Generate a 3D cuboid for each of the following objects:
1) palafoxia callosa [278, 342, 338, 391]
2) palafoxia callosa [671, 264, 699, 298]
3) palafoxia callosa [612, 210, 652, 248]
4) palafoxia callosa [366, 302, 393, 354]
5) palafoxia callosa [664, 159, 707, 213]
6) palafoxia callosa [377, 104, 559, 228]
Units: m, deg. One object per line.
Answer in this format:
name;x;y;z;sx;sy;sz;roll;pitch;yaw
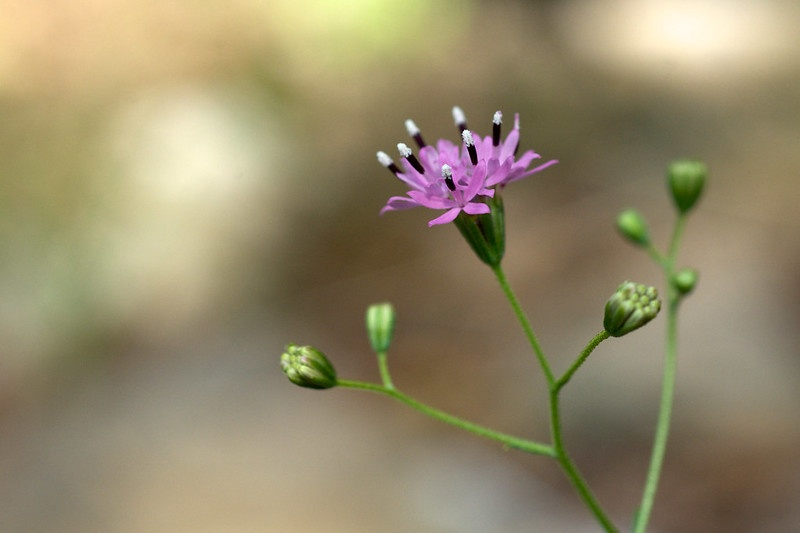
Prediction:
palafoxia callosa;-0.670;0.731;5.853;0.408;0.323;0.212;0;-14;-13
palafoxia callosa;2.104;0.112;5.843;0.189;0.219;0.124;2;-14;-19
palafoxia callosa;1.806;-0.398;6.051;0.207;0.157;0.422;-21;3;38
palafoxia callosa;-0.151;0.467;6.045;0.199;0.419;0.335;-2;-14;-2
palafoxia callosa;2.106;-0.588;5.851;0.244;0.386;0.247;-13;17;-31
palafoxia callosa;0.528;-0.431;5.924;0.790;1.339;1.070;0;-2;-20
